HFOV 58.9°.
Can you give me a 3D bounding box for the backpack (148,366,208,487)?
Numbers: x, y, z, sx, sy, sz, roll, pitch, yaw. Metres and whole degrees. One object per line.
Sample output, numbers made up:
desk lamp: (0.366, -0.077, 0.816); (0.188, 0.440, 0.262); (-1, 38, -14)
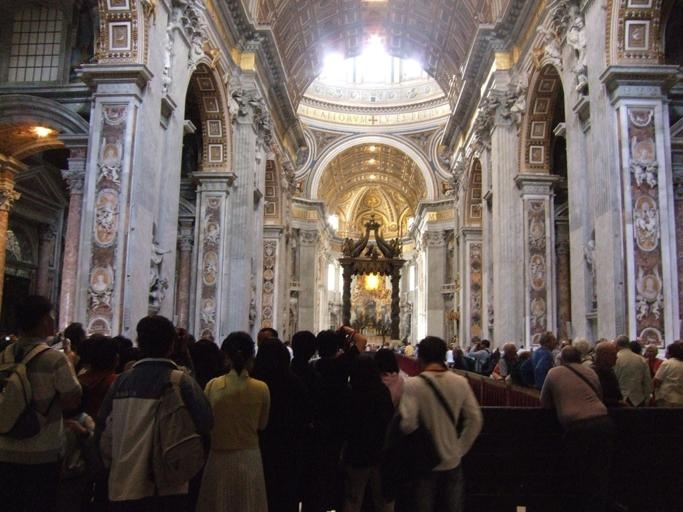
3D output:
backpack: (-1.341, 1.450, 4.962); (0.392, 0.984, 0.184); (2, -9, -18)
